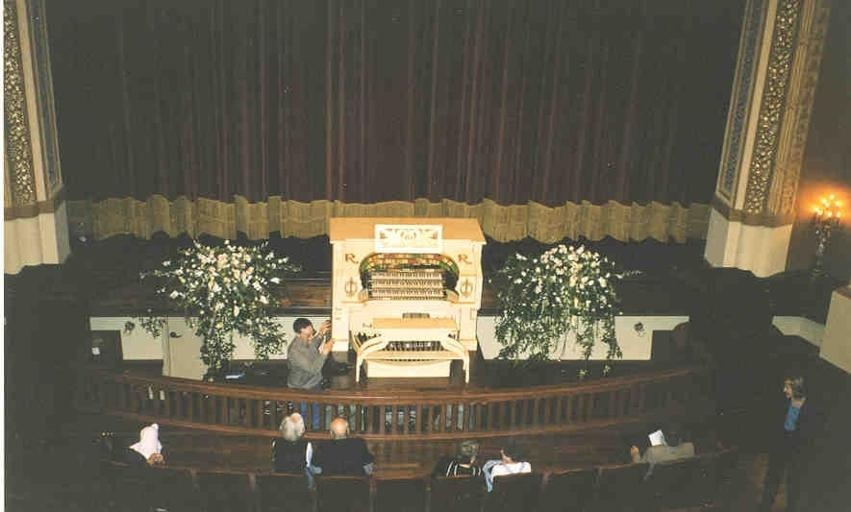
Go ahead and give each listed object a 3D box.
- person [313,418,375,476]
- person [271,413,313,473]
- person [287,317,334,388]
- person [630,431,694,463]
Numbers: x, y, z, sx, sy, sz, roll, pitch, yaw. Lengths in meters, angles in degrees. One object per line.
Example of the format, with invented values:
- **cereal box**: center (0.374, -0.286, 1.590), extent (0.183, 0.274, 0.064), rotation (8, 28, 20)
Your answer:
- **person**: center (-1.420, 3.198, 20.620), extent (1.044, 0.926, 0.441), rotation (0, -27, -4)
- **person**: center (-2.245, 3.159, 20.703), extent (0.633, 0.929, 0.481), rotation (2, -27, -7)
- **person**: center (-2.049, 1.732, 21.937), extent (0.813, 1.319, 0.639), rotation (9, -29, -20)
- **person**: center (4.030, 3.340, 21.073), extent (0.815, 0.564, 0.291), rotation (-7, -72, 0)
